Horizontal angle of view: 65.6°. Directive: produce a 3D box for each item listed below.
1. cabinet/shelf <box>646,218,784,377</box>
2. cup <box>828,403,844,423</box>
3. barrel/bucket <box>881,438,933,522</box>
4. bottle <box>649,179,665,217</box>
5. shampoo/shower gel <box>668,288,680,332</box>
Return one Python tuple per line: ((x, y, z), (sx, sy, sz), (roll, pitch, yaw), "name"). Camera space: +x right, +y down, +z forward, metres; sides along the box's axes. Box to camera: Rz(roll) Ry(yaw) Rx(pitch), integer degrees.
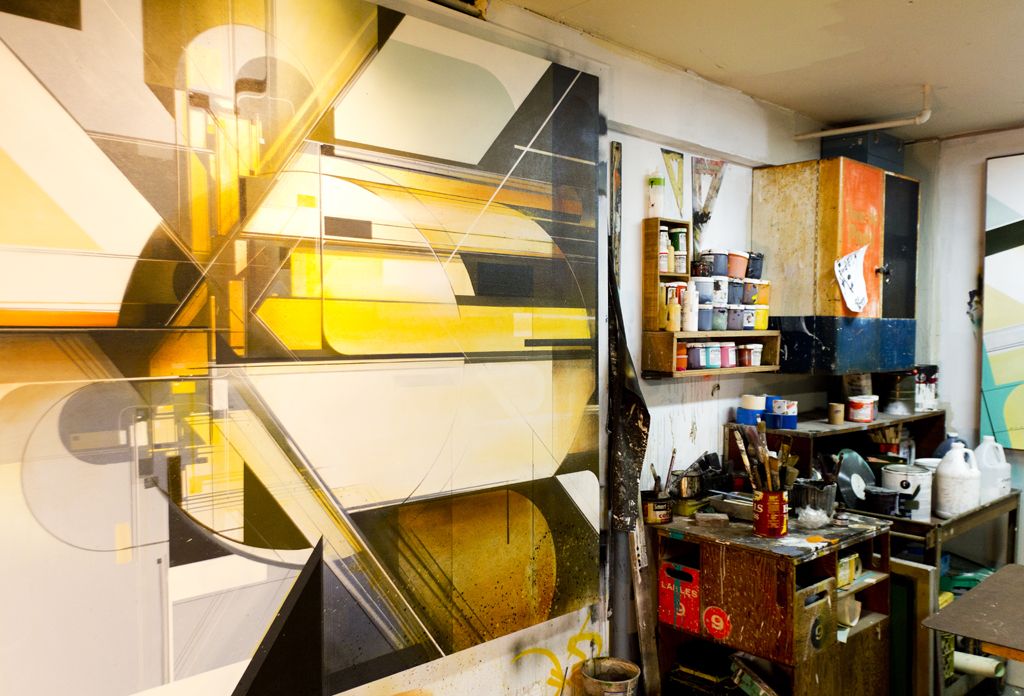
((1.046, -0.243, 4.185), (0.909, 0.826, 0.255), (-1, -2, -38), "cabinet/shelf")
((1.861, 0.382, 4.582), (0.098, 0.112, 0.098), (2, 5, 0), "cup")
((2.217, 0.786, 4.471), (0.227, 0.352, 0.349), (0, 3, -2), "barrel/bucket")
((0.736, -0.754, 4.064), (0.084, 0.214, 0.174), (-1, 1, 9), "bottle")
((0.815, -0.184, 3.980), (0.054, 0.215, 0.102), (-1, 1, 16), "shampoo/shower gel")
